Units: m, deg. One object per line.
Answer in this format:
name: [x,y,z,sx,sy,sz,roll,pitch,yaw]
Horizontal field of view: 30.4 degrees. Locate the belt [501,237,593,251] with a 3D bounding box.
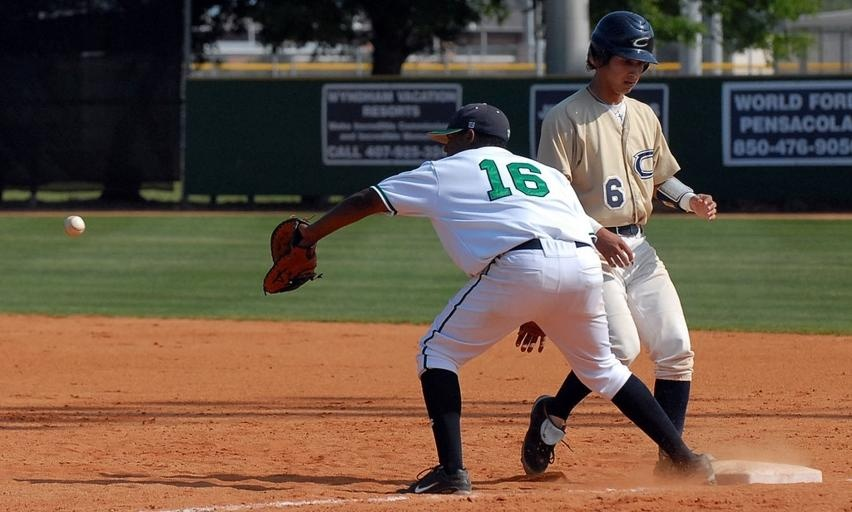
belt: [1.562,-0.150,19.962,0.957,0.164,0.066,-1,7,-6]
